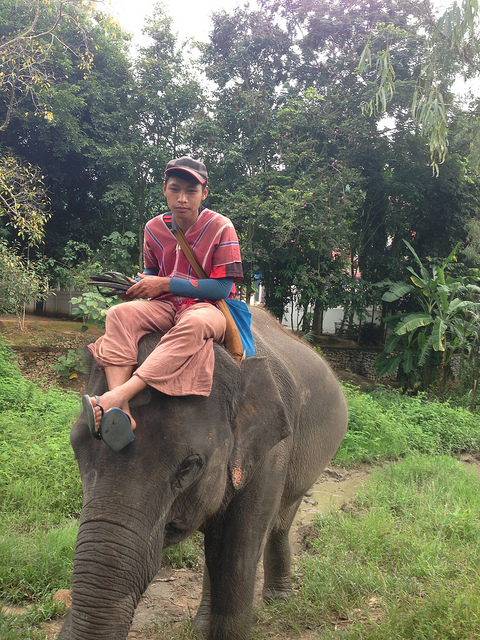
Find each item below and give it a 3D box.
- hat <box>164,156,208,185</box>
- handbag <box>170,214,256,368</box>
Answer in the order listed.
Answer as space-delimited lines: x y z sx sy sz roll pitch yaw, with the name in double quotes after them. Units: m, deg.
-0.182 -0.504 1.827 0.095 0.067 0.135 15 -5 4 "hat"
-0.117 -0.099 1.979 0.231 0.681 0.091 -14 -34 3 "handbag"
